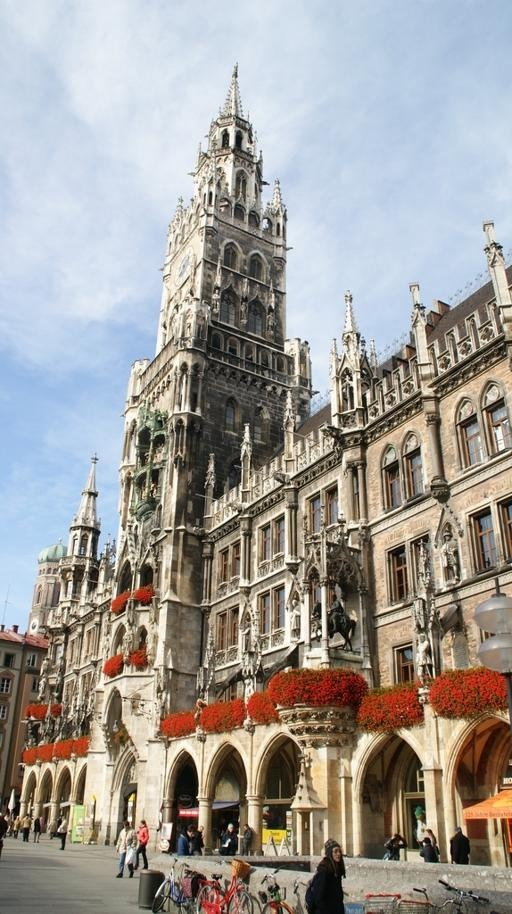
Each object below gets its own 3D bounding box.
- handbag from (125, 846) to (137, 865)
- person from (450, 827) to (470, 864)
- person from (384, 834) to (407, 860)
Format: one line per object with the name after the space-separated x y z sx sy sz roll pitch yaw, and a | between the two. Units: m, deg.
-3.476 11.105 17.351 0.271 0.437 0.831 3 -27 -5 | handbag
4.028 7.784 12.475 0.304 0.603 0.731 -5 -26 12 | person
3.573 10.088 16.102 0.473 0.641 2.173 -5 -28 12 | person
